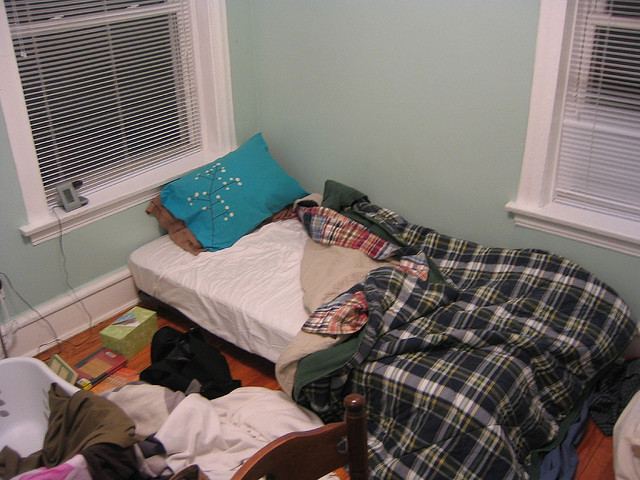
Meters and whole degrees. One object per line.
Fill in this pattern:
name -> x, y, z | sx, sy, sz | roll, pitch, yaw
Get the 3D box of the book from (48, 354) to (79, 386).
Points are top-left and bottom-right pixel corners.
book -> -1.259, 0.646, 2.531 | 0.161, 0.147, 0.036 | 24, 78, 48

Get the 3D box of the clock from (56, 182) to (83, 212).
clock -> -1.361, -0.237, 2.727 | 0.038, 0.153, 0.119 | -13, 20, 39

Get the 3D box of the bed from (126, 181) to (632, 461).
bed -> 0.149, 0.268, 2.538 | 2.014, 0.487, 1.348 | 21, 44, 26

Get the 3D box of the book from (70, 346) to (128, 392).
book -> -1.161, 0.676, 2.639 | 0.205, 0.043, 0.204 | 27, 43, 31

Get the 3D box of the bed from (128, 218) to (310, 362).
bed -> -0.476, 0.239, 2.723 | 0.808, 0.178, 0.797 | 24, 45, 36
